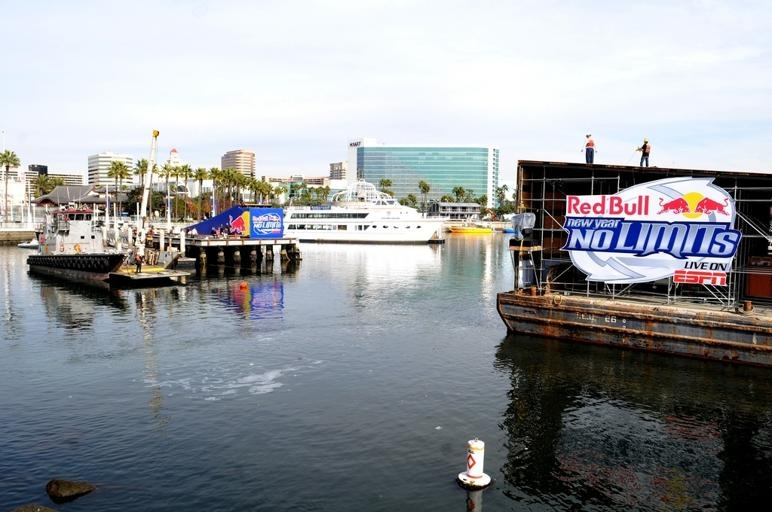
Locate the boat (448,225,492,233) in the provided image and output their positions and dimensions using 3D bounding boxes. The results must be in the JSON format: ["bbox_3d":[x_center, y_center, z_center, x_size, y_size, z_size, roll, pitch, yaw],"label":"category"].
[{"bbox_3d":[22.737,-7.555,196.263,12.348,1.688,2.563,1,1,-10],"label":"boat"}]

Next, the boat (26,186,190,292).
[{"bbox_3d":[-29.375,-1.740,74.145,10.740,7.467,24.322,-6,9,-42],"label":"boat"}]
